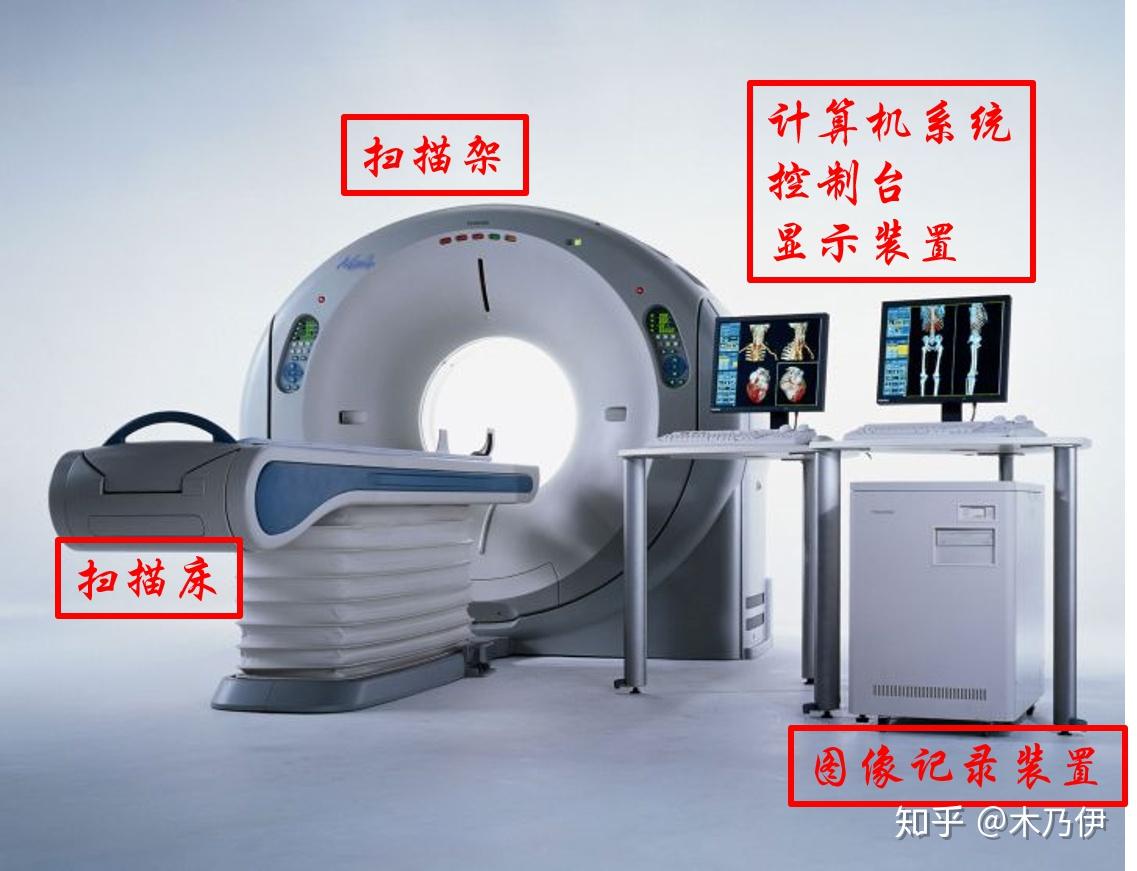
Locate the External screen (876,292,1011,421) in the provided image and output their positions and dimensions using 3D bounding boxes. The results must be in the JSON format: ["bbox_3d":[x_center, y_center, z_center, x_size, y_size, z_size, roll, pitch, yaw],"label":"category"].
[{"bbox_3d":[1.219,-0.277,3.383,0.407,0.344,0.077,0,0,16],"label":"External screen"}]

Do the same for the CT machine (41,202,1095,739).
[{"bbox_3d":[0.342,0.015,4.264,2.954,1.756,2.053,0,-2,12],"label":"CT machine"}]

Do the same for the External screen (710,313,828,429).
[{"bbox_3d":[0.735,-0.268,3.757,0.421,0.424,0.124,5,11,10],"label":"External screen"}]
